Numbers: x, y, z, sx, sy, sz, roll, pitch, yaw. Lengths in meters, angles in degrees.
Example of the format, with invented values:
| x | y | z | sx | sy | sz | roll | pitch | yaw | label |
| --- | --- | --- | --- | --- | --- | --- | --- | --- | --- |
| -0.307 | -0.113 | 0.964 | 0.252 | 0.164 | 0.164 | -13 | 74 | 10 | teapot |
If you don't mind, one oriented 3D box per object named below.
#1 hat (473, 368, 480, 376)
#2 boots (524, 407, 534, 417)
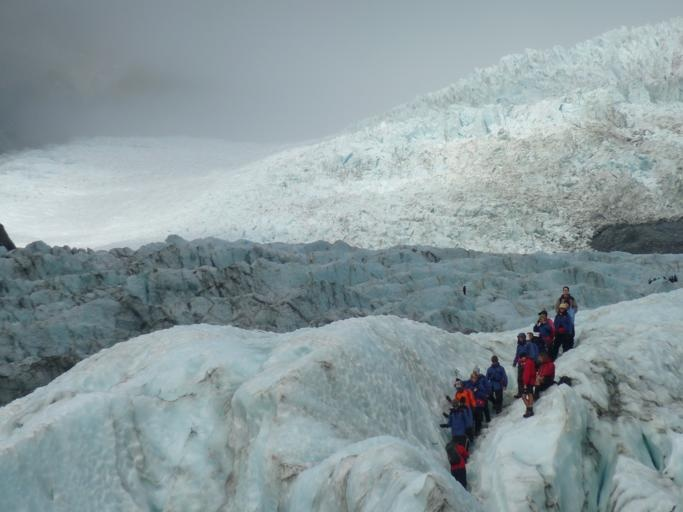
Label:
| x | y | z | sx | sy | sz | roll | pitch | yaw | label |
| --- | --- | --- | --- | --- | --- | --- | --- | --- | --- |
| 4.282 | 3.661 | 22.074 | 0.229 | 0.240 | 0.181 | -6 | 13 | 13 | hat |
| 5.617 | 4.791 | 21.095 | 0.369 | 0.363 | 0.181 | -8 | -11 | 34 | boots |
